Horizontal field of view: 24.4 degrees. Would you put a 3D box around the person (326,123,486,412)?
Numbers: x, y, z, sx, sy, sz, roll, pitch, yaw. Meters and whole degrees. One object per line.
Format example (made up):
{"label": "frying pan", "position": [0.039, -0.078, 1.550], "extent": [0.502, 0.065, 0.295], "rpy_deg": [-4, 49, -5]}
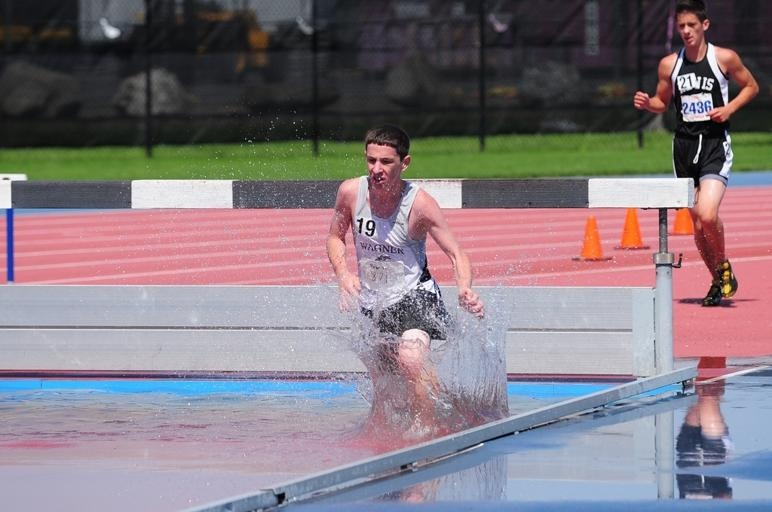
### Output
{"label": "person", "position": [0.102, 0.071, 16.941], "extent": [1.352, 2.552, 0.671], "rpy_deg": [2, 15, 6]}

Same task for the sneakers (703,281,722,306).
{"label": "sneakers", "position": [3.605, 0.414, 19.627], "extent": [0.126, 0.249, 0.354], "rpy_deg": [-4, 8, 38]}

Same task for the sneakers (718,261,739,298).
{"label": "sneakers", "position": [3.752, 0.241, 19.651], "extent": [0.192, 0.452, 0.161], "rpy_deg": [8, -20, -42]}

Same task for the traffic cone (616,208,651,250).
{"label": "traffic cone", "position": [3.109, -0.372, 22.691], "extent": [0.547, 0.726, 0.544], "rpy_deg": [-1, 2, 1]}
